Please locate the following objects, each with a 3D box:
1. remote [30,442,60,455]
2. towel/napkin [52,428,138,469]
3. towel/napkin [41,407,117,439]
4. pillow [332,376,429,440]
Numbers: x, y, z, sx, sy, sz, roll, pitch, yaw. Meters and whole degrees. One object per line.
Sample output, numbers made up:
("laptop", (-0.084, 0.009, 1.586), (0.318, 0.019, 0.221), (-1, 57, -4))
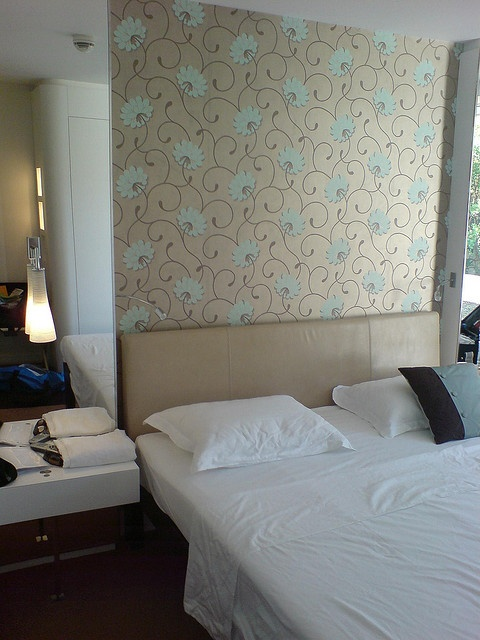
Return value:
("remote", (-0.783, 0.500, 1.883), (0.084, 0.027, 0.064), (2, -2, 21))
("towel/napkin", (-0.581, 0.519, 1.873), (0.182, 0.063, 0.154), (-1, 10, -24))
("towel/napkin", (-0.706, 0.446, 2.056), (0.174, 0.049, 0.146), (-4, 18, -27))
("pillow", (0.793, 0.426, 2.496), (0.495, 0.141, 0.564), (2, 14, -15))
